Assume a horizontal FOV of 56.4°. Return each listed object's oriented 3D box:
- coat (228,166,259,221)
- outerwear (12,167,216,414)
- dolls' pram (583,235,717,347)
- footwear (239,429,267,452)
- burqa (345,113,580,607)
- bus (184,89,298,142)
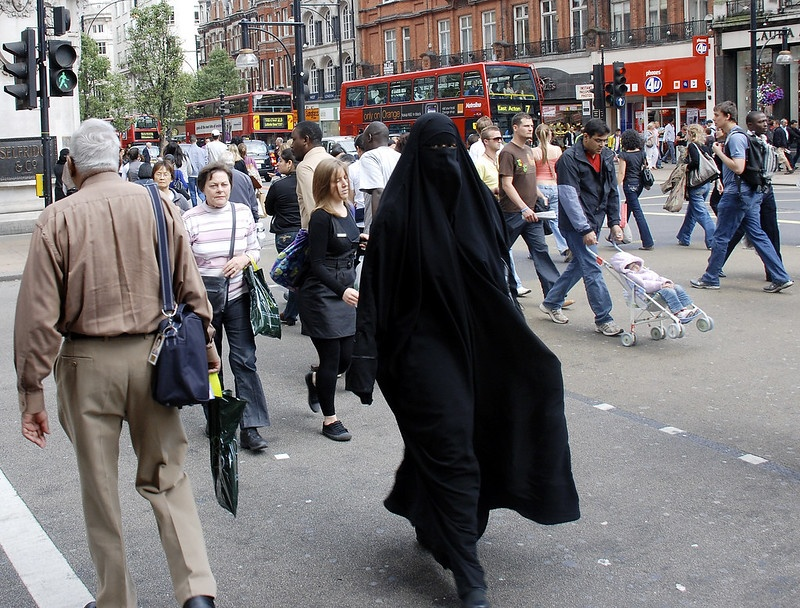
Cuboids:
[{"bbox_3d":[-1.843,-1.314,9.034,0.449,0.462,0.253,16,18,41],"label":"coat"},{"bbox_3d":[-1.322,-0.055,3.174,0.603,0.981,0.306,-6,12,-18],"label":"outerwear"},{"bbox_3d":[2.630,-0.160,8.058,0.611,1.078,1.426,-5,4,-26],"label":"dolls' pram"},{"bbox_3d":[-1.067,1.003,5.505,0.104,0.131,0.269,-6,4,-40],"label":"footwear"},{"bbox_3d":[0.333,0.222,3.592,0.888,2.268,0.948,-13,15,-43],"label":"burqa"},{"bbox_3d":[-11.426,-12.511,52.257,8.276,3.530,2.568,1,16,19],"label":"bus"}]
